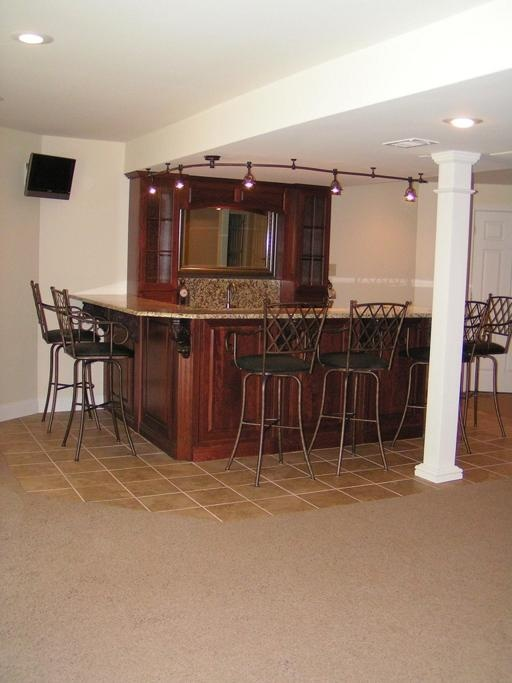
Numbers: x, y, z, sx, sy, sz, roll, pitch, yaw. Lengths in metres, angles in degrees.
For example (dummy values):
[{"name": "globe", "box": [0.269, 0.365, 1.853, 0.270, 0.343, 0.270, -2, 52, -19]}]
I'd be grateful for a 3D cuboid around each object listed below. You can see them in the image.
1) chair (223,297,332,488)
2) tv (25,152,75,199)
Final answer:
[{"name": "chair", "box": [0.180, 0.307, 3.844, 0.818, 1.140, 0.841, -2, 6, -28]}, {"name": "tv", "box": [-1.897, -1.504, 5.048, 0.063, 0.425, 0.496, 29, 22, 37]}]
